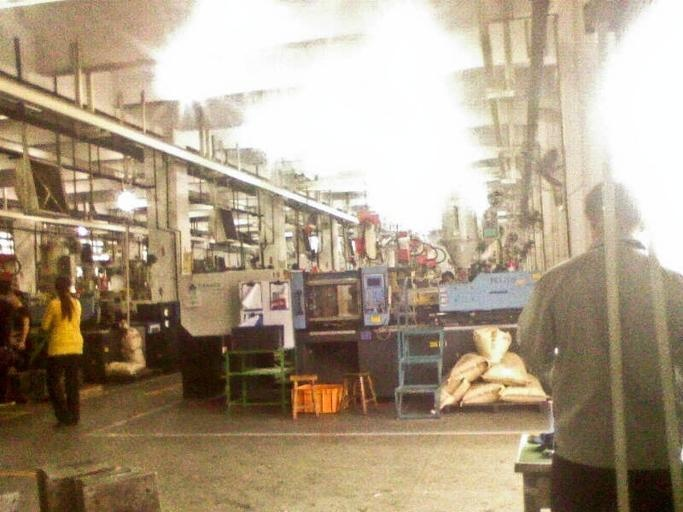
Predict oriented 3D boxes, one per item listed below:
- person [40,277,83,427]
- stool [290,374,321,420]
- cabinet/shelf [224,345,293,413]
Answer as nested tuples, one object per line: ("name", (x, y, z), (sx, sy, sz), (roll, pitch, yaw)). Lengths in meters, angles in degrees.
("person", (-3.147, 1.105, 8.096), (0.410, 1.721, 0.402), (-3, 3, -26))
("stool", (-0.446, 1.714, 8.695), (0.388, 0.639, 0.451), (-1, -16, 2))
("cabinet/shelf", (-1.076, 1.618, 9.380), (0.722, 0.761, 1.025), (-1, -7, -4))
